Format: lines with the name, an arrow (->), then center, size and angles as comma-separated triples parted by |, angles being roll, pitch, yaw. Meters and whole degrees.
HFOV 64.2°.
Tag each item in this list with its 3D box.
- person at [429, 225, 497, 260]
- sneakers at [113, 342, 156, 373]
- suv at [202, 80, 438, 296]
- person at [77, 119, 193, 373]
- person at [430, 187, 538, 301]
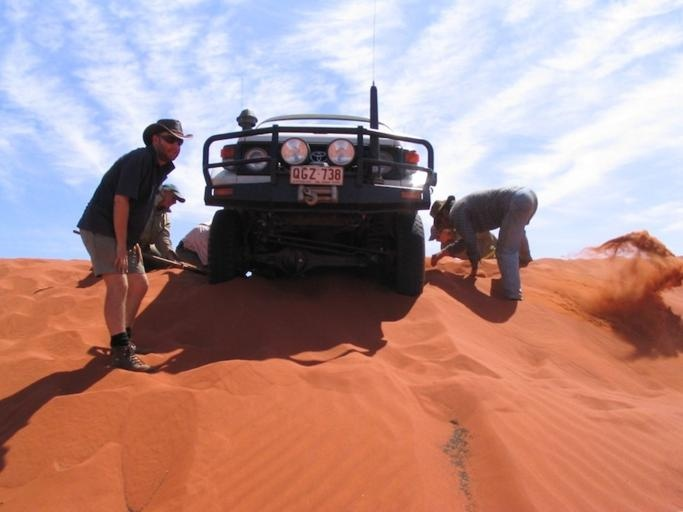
person -> 2.522, -0.239, 11.267 | 1.378, 0.563, 1.394 | -5, 3, -36
sneakers -> -1.696, 0.844, 4.434 | 0.278, 0.153, 0.365 | -4, 16, -37
suv -> -0.156, -0.716, 6.706 | 1.559, 1.806, 3.119 | 0, -2, 0
person -> -1.754, -0.147, 4.654 | 0.694, 2.025, 0.702 | 14, 15, 36
person -> 2.042, -0.207, 8.063 | 1.621, 1.472, 1.154 | -2, 4, 34
